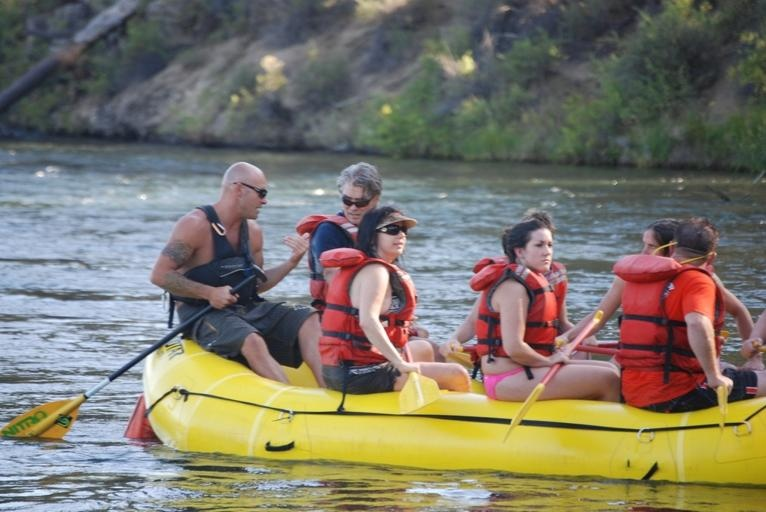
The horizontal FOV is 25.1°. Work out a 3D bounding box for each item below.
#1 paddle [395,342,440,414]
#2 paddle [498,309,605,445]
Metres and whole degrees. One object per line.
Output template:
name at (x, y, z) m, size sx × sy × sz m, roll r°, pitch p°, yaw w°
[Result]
paddle at (0.543, 2.229, 29.275) m, size 0.511 × 0.270 × 0.898 m, roll -30°, pitch 38°, yaw -9°
paddle at (2.833, 2.123, 29.222) m, size 0.356 × 3.011 × 0.343 m, roll 47°, pitch -1°, yaw 43°
